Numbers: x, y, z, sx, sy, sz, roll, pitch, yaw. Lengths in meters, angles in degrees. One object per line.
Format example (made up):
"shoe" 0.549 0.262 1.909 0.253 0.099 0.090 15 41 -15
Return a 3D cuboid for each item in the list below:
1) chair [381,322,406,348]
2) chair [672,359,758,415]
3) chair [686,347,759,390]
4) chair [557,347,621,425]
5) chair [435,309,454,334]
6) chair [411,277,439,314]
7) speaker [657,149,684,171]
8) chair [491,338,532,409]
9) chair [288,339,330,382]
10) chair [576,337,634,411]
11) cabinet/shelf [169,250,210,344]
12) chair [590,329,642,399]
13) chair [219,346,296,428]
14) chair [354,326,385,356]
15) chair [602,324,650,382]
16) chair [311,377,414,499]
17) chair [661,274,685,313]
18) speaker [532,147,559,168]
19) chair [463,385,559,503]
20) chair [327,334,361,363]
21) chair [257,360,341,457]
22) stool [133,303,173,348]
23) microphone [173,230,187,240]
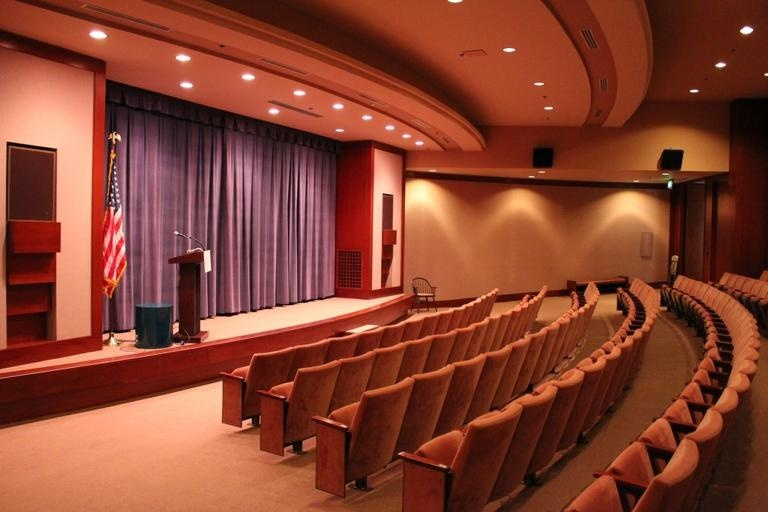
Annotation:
"chair" 0.066 1.005 6.948 0.237 0.342 0.287 -3 5 -43
"chair" 3.145 1.222 5.176 0.595 0.792 0.588 -1 0 36
"chair" 3.499 1.263 5.577 0.495 0.563 0.441 4 22 22
"chair" 2.156 1.385 5.646 0.269 0.351 0.787 8 11 33
"chair" 0.898 0.978 8.012 0.311 0.373 0.259 3 5 45
"chair" 0.941 0.942 13.250 0.519 0.815 0.601 0 -1 -29
"speaker" 6.173 -2.072 11.676 0.481 0.506 0.270 2 6 -3
"chair" 1.497 1.135 6.208 0.375 0.413 0.620 -22 21 25
"chair" -0.865 1.157 6.210 0.442 0.552 0.371 4 5 39
"chair" 2.463 1.419 6.316 0.867 0.927 0.806 -3 -3 27
"cabinet/shelf" -2.815 0.556 7.815 0.479 1.273 0.923 -6 14 -20
"chair" 2.720 1.281 6.280 0.210 0.282 0.730 13 21 32
"chair" -1.441 1.436 6.272 0.843 0.982 0.728 0 -2 38
"chair" -0.186 1.029 6.571 0.293 0.349 0.252 6 7 42
"chair" 2.980 1.207 6.601 0.217 0.303 0.687 7 14 32
"chair" -0.199 1.684 5.179 0.656 1.057 0.807 9 8 38
"chair" 6.305 0.842 11.808 0.286 0.506 0.711 -1 -1 34
"speaker" 3.626 -2.253 12.407 0.440 0.442 0.210 1 13 10
"chair" 1.192 1.585 5.076 0.873 1.042 0.700 6 9 40
"chair" -0.510 1.060 6.481 0.275 0.409 0.330 -6 11 -40
"chair" -0.894 1.571 5.680 0.620 0.957 0.735 4 3 30
"stool" -3.182 0.944 7.465 0.490 0.572 0.491 0 7 -36
"microphone" -3.395 -0.348 8.945 0.120 0.152 0.503 -2 6 -30
